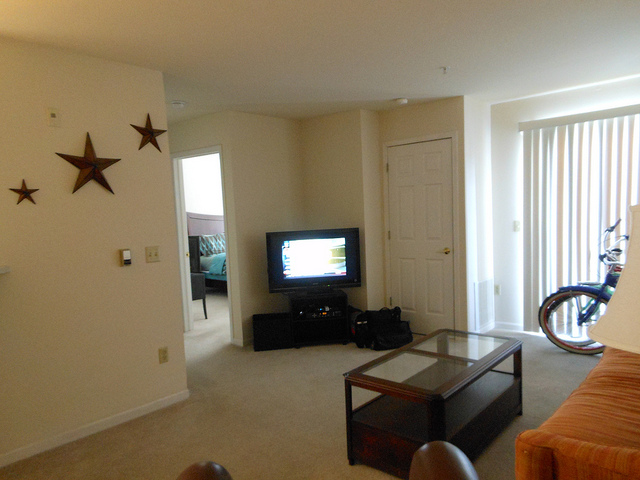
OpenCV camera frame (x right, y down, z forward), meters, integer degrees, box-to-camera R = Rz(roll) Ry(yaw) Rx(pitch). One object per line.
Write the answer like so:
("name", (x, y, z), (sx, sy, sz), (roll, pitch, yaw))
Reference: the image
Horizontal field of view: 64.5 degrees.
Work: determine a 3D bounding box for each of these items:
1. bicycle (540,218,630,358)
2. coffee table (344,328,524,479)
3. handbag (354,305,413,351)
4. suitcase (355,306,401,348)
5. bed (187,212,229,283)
("bicycle", (2.631, 0.471, 5.110), (0.675, 1.299, 0.639), (6, 13, 40))
("coffee table", (0.863, 1.166, 3.756), (0.762, 0.663, 1.401), (6, 14, 43))
("handbag", (0.690, 0.988, 5.690), (0.660, 0.449, 0.525), (0, 5, -18))
("suitcase", (0.714, 1.046, 5.610), (0.507, 0.536, 0.155), (8, -32, -36))
("bed", (-1.989, 0.101, 9.186), (0.813, 1.403, 1.150), (-4, -3, -21))
